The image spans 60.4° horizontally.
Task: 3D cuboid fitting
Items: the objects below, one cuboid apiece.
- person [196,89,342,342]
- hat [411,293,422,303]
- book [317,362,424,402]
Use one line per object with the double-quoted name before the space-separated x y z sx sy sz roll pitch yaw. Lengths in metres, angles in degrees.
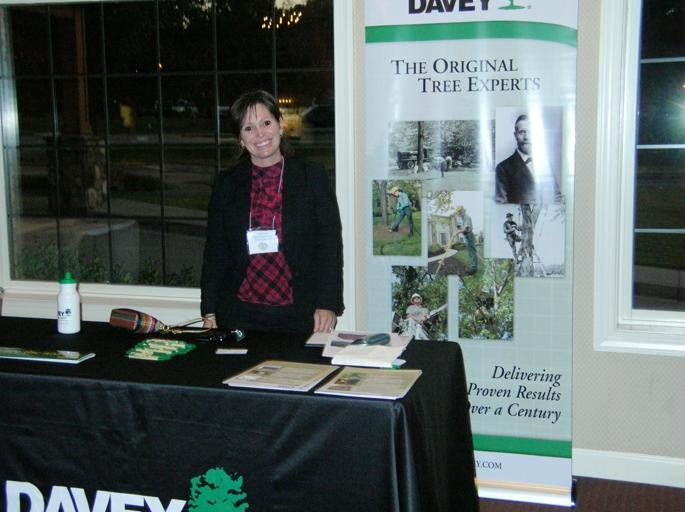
"person" -0.304 -0.070 2.586 0.633 0.756 0.388 2 15 16
"hat" 0.388 0.222 3.106 0.041 0.056 0.031 -4 43 6
"book" 0.085 0.394 1.863 0.290 0.030 0.261 3 16 18
